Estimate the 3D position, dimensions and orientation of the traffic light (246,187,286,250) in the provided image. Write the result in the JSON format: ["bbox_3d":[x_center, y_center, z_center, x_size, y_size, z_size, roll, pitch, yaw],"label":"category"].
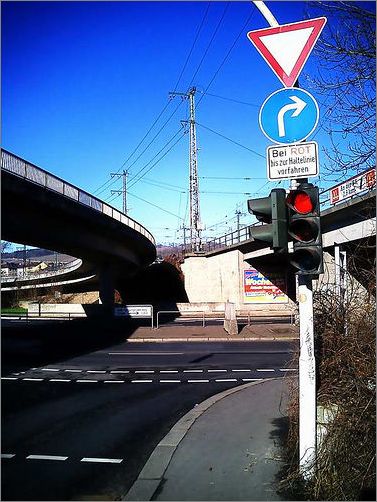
[{"bbox_3d":[0.879,-0.316,5.272,0.388,0.699,0.252,-4,-12,13],"label":"traffic light"}]

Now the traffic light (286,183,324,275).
[{"bbox_3d":[1.226,-0.215,5.101,0.347,0.798,0.321,-6,-3,14],"label":"traffic light"}]
